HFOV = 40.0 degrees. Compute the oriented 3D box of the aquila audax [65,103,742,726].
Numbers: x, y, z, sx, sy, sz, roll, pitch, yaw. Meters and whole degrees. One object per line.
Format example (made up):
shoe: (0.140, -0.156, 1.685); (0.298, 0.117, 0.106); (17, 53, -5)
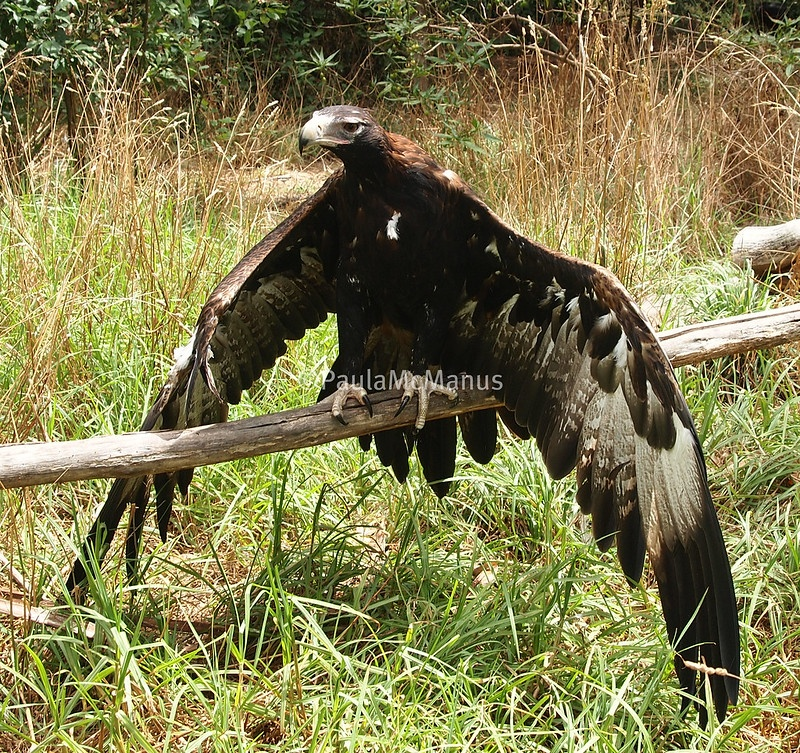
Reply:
aquila audax: (-0.097, 0.071, 3.475); (2.281, 1.813, 1.225); (9, -6, 18)
